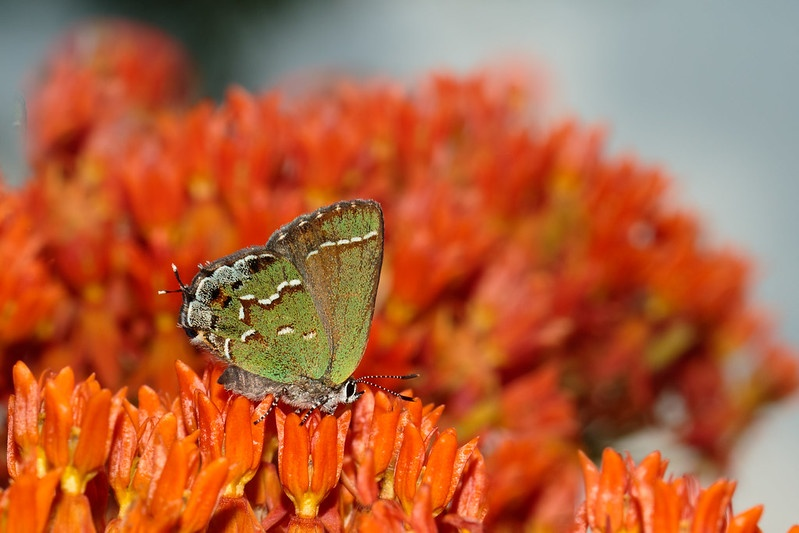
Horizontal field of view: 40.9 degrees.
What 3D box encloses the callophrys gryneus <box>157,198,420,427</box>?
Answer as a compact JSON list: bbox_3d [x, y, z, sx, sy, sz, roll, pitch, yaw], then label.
[{"bbox_3d":[-0.131,0.075,1.399,0.304,0.332,0.252,9,77,-2],"label":"callophrys gryneus"}]
